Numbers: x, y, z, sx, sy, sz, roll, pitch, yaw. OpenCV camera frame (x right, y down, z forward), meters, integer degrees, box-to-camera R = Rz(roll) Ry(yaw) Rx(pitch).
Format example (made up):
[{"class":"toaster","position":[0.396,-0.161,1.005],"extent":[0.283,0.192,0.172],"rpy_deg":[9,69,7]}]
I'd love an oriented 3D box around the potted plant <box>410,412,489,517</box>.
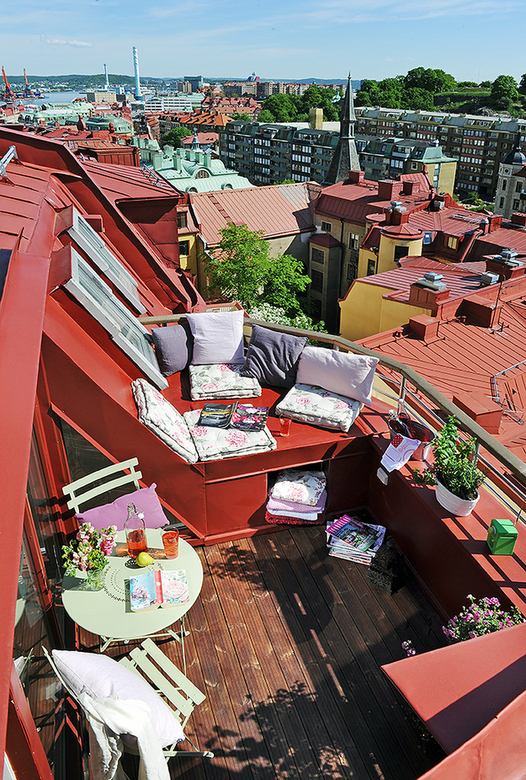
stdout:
[{"class":"potted plant","position":[1.515,0.645,4.270],"extent":[0.515,0.867,0.613],"rpy_deg":[-11,43,-3]}]

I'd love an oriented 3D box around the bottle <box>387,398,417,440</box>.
[{"class":"bottle","position":[1.281,0.317,4.949],"extent":[0.210,0.123,0.317],"rpy_deg":[-2,60,1]}]

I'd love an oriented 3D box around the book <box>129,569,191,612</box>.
[{"class":"book","position":[-0.719,1.361,3.545],"extent":[0.272,0.061,0.233],"rpy_deg":[-6,29,-18]}]

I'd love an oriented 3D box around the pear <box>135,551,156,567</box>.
[{"class":"pear","position":[-0.857,1.224,3.757],"extent":[0.119,0.093,0.091],"rpy_deg":[25,73,1]}]

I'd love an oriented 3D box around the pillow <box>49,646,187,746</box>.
[{"class":"pillow","position":[-0.707,1.482,2.533],"extent":[0.358,0.364,0.596],"rpy_deg":[-23,34,-38]}]

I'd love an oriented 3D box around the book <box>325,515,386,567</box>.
[{"class":"book","position":[0.843,1.352,4.793],"extent":[0.390,0.094,0.394],"rpy_deg":[11,29,22]}]
